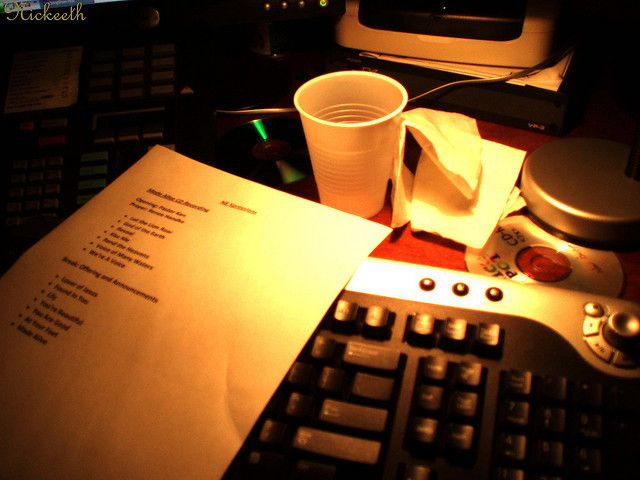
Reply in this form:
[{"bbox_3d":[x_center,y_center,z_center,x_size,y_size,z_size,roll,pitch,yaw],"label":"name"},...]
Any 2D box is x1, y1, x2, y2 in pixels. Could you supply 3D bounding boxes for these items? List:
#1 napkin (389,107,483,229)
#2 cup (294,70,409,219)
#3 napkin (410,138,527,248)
[{"bbox_3d":[0.140,-0.102,0.639,0.109,0.049,0.160,12,76,-9],"label":"napkin"},{"bbox_3d":[0.033,-0.115,0.632,0.119,0.146,0.103,14,52,12],"label":"cup"},{"bbox_3d":[0.162,-0.053,0.636,0.123,0.028,0.132,20,72,7],"label":"napkin"}]
